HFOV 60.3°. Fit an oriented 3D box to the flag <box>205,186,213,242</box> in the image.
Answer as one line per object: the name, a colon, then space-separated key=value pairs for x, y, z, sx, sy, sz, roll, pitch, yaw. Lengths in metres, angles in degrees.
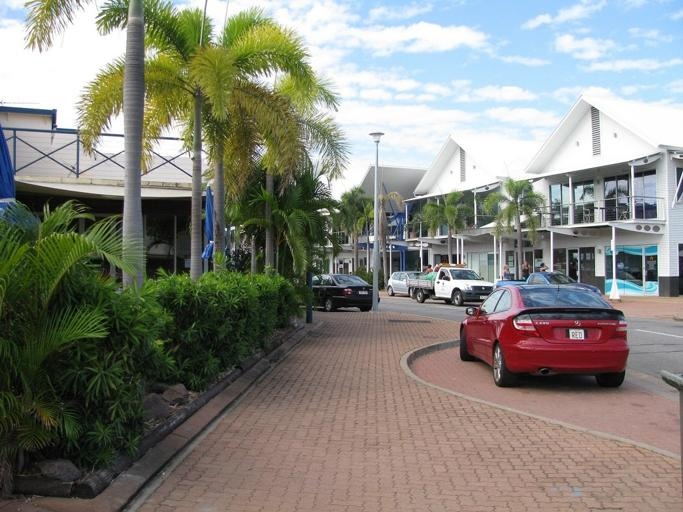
flag: x=-3.950 y=-1.294 z=17.619 sx=0.190 sy=1.665 sz=1.711 roll=0 pitch=2 yaw=-14

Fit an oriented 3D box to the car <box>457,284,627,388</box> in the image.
car: x=3.101 y=1.178 z=10.030 sx=1.328 sy=0.957 sz=2.684 roll=0 pitch=1 yaw=-5

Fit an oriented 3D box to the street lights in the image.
street lights: x=1.600 y=-2.217 z=26.466 sx=0.695 sy=6.579 sz=0.669 roll=-10 pitch=19 yaw=-26

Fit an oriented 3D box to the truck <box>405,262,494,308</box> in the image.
truck: x=5.924 y=1.476 z=30.906 sx=1.729 sy=1.671 sz=4.881 roll=0 pitch=-4 yaw=-20

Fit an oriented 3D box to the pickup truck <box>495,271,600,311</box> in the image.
pickup truck: x=5.327 y=0.803 z=15.129 sx=2.090 sy=0.800 sz=0.981 roll=-3 pitch=3 yaw=-9

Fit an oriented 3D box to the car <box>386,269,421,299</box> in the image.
car: x=3.948 y=1.738 z=38.567 sx=1.257 sy=1.029 sz=2.075 roll=2 pitch=-7 yaw=-32
